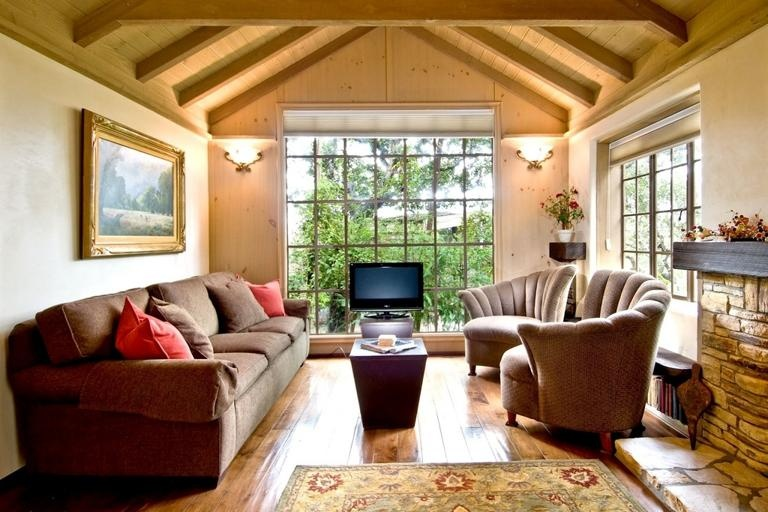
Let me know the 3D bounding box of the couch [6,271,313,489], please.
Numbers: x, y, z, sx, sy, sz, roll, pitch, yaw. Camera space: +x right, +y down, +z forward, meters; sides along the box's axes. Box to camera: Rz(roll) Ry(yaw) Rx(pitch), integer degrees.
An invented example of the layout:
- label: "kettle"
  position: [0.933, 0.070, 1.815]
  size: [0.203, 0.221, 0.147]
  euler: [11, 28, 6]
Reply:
- label: "couch"
  position: [-1.655, 0.886, 4.223]
  size: [1.421, 1.267, 1.935]
  euler: [6, 14, 31]

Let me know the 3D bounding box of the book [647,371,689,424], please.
- label: "book"
  position: [2.308, 1.164, 4.409]
  size: [0.257, 0.416, 0.463]
  euler: [-3, -9, 8]

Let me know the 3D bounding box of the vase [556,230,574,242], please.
- label: "vase"
  position: [2.068, -0.223, 5.992]
  size: [0.150, 0.107, 0.146]
  euler: [0, -4, -14]

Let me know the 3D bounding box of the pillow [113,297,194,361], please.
- label: "pillow"
  position: [-1.851, 0.389, 4.101]
  size: [0.706, 0.662, 0.429]
  euler: [4, 5, 44]

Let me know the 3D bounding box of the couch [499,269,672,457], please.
- label: "couch"
  position: [1.609, 0.856, 4.788]
  size: [1.408, 1.432, 1.410]
  euler: [0, -4, 12]

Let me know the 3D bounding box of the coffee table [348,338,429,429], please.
- label: "coffee table"
  position: [0.047, 1.104, 4.735]
  size: [0.750, 0.691, 0.619]
  euler: [0, -4, 0]

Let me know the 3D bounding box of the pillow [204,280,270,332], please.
- label: "pillow"
  position: [-1.484, 0.530, 5.357]
  size: [0.152, 0.494, 0.471]
  euler: [-39, -15, 20]

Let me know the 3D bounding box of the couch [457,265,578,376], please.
- label: "couch"
  position: [1.494, 0.743, 5.725]
  size: [1.239, 1.165, 1.206]
  euler: [-12, -19, 40]

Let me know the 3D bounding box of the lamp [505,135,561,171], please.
- label: "lamp"
  position: [1.806, -1.217, 6.320]
  size: [0.618, 0.345, 0.347]
  euler: [1, -6, 20]

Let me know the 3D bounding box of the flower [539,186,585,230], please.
- label: "flower"
  position: [2.042, -0.516, 6.095]
  size: [0.462, 0.517, 0.527]
  euler: [-2, 1, 11]
